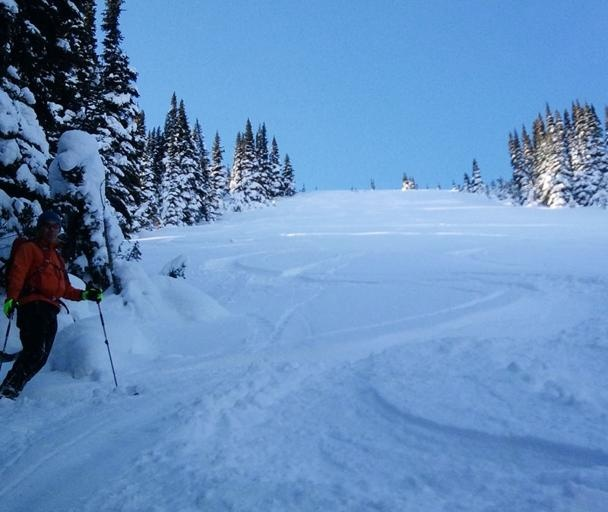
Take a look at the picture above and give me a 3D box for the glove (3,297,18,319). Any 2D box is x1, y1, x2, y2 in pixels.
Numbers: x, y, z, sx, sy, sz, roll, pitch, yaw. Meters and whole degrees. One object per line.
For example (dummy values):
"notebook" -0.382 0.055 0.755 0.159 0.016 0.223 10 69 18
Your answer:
"glove" -4.195 0.755 7.440 0.160 0.260 0.090 -1 32 -16

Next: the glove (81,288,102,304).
"glove" -3.305 0.618 8.176 0.317 0.239 0.134 8 10 31

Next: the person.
"person" -4.021 0.643 7.776 0.508 2.535 1.257 1 7 20

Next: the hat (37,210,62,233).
"hat" -3.955 -0.545 8.074 0.248 0.296 0.320 4 0 -44
